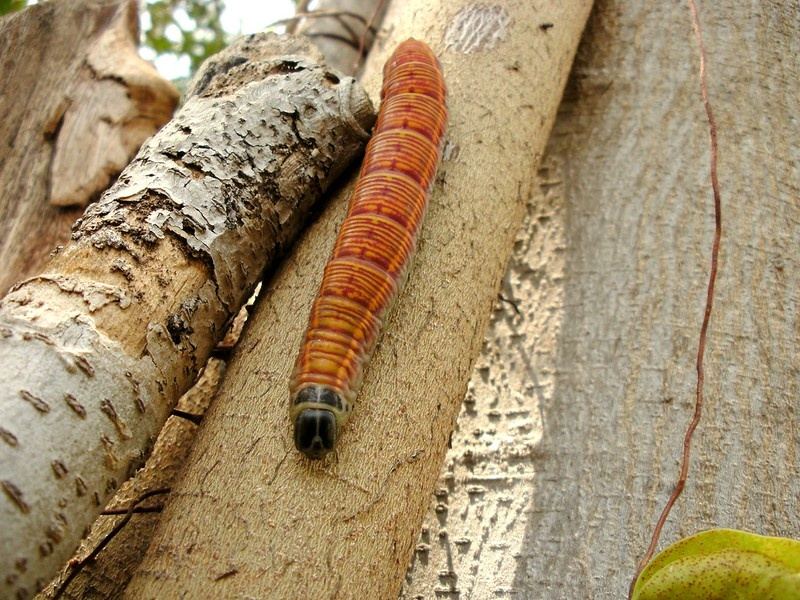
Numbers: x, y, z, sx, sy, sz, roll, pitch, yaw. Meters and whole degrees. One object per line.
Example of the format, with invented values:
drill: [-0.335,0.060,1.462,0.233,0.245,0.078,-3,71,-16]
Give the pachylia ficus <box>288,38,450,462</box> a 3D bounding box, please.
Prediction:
pachylia ficus: [-0.085,-0.275,5.519,0.414,2.666,0.378,5,-26,15]
